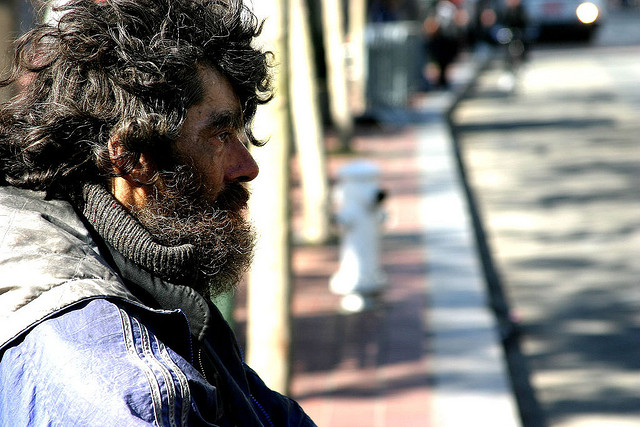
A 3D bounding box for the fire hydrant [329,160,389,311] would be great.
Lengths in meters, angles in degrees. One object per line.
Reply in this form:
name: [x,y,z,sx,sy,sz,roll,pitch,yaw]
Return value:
fire hydrant: [0.330,0.202,9.145,0.489,1.149,0.904,-1,29,2]
